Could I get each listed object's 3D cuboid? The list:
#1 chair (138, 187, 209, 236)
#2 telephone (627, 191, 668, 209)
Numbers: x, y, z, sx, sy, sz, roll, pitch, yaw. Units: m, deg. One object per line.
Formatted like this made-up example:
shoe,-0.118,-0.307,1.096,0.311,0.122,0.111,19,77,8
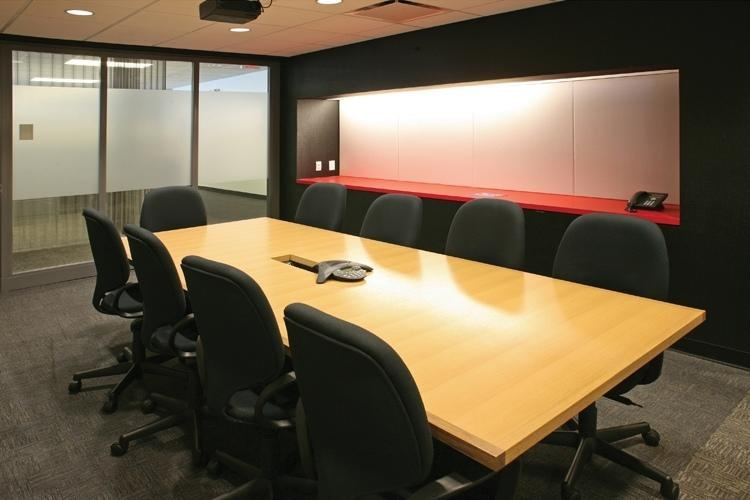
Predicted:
chair,-1.936,-0.364,5.166,0.478,0.633,0.532,-2,3,-33
telephone,2.508,-0.450,4.753,0.407,0.165,0.212,-7,16,-35
